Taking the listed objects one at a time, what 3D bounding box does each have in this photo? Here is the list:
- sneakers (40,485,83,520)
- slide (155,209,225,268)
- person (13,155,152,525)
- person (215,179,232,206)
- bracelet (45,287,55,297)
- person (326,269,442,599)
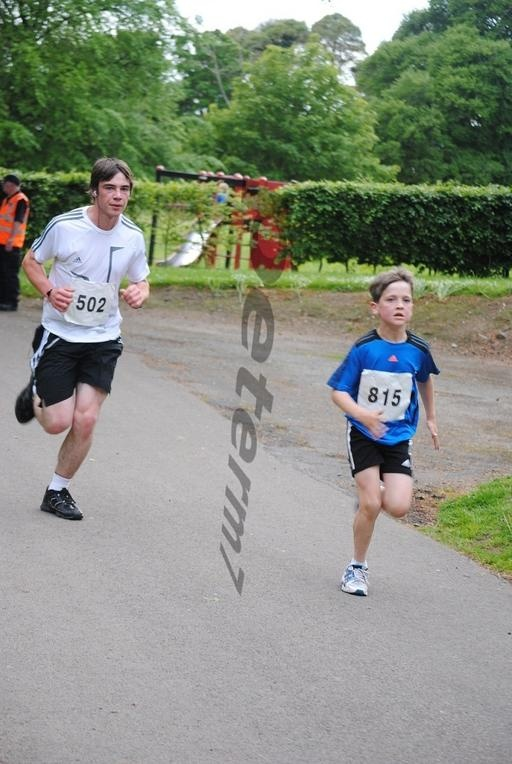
[{"bbox_3d":[-1.136,0.713,4.348,0.128,0.133,0.307,-3,12,-43],"label":"sneakers"},{"bbox_3d":[-1.679,-3.769,19.840,0.815,1.447,1.483,1,9,-42],"label":"slide"},{"bbox_3d":[-1.014,-0.246,4.230,0.702,2.080,0.481,7,7,-9],"label":"person"},{"bbox_3d":[-0.861,-5.054,19.414,0.384,0.784,0.828,7,7,-4],"label":"person"},{"bbox_3d":[-1.126,-0.490,4.009,0.014,0.045,0.049,33,12,-11],"label":"bracelet"},{"bbox_3d":[0.645,0.241,3.674,0.619,1.615,0.510,7,7,-7],"label":"person"}]
